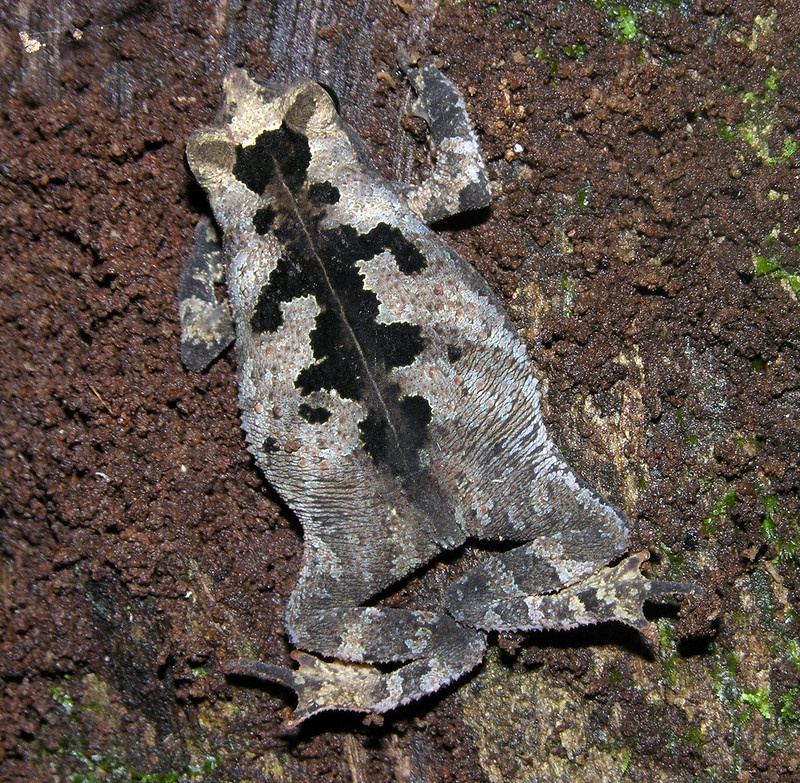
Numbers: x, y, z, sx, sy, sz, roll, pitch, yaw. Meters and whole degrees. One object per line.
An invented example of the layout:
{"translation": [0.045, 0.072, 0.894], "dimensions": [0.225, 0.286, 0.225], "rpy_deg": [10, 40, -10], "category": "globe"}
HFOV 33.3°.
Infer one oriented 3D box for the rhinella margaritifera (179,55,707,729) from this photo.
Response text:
{"translation": [0.299, -0.120, 8.160], "dimensions": [2.800, 2.541, 4.549], "rpy_deg": [5, 49, 4], "category": "rhinella margaritifera"}
